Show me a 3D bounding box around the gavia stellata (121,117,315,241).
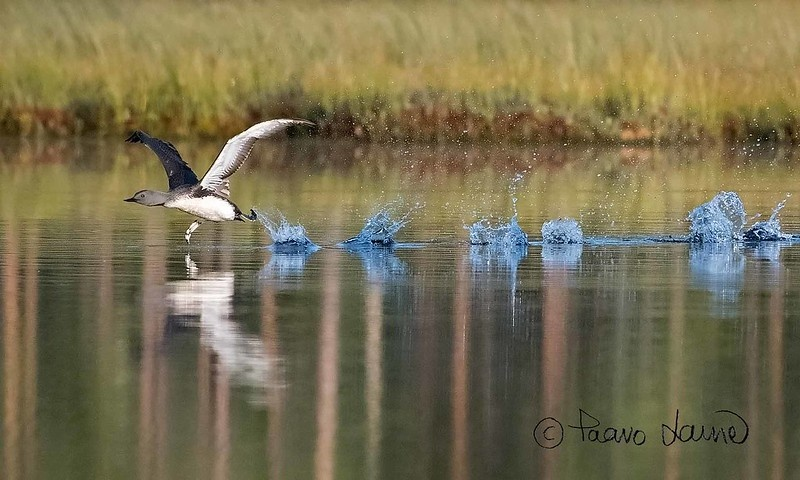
[{"bbox_3d":[-3.838,-1.173,27.872,2.501,1.293,3.338,1,4,-31],"label":"gavia stellata"}]
